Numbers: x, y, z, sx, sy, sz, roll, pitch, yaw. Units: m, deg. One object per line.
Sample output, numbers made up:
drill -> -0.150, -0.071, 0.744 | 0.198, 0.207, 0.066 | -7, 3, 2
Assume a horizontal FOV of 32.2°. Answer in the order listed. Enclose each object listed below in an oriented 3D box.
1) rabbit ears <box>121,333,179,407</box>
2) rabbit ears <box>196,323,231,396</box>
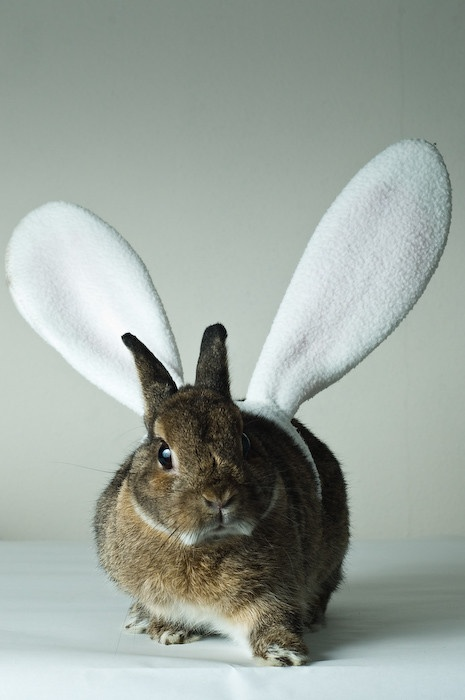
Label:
rabbit ears -> -0.129, 0.034, 1.261 | 0.058, 0.127, 0.057 | -37, -13, 13
rabbit ears -> -0.027, 0.015, 1.277 | 0.054, 0.106, 0.050 | -1, -20, 1
